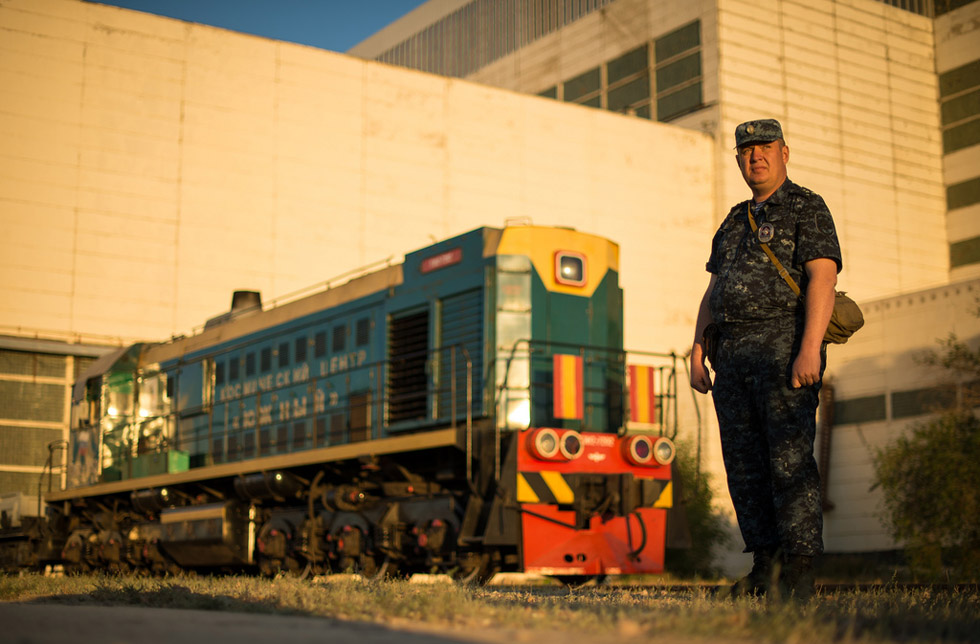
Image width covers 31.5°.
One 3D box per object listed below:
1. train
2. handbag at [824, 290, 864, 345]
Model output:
[{"bbox_3d":[-4.995,3.553,49.645,7.545,8.568,23.870,9,-13,-39],"label":"train"},{"bbox_3d":[7.505,0.008,37.216,1.050,1.137,0.837,4,-3,-9],"label":"handbag"}]
